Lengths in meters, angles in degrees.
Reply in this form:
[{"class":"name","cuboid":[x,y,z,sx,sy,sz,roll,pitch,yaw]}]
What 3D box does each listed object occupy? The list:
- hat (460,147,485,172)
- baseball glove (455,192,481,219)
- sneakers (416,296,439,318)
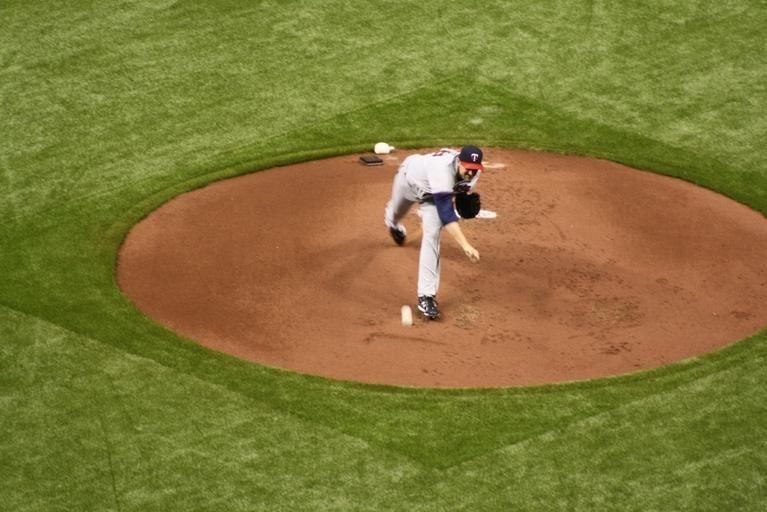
[{"class":"hat","cuboid":[1.160,-1.323,16.732,0.262,0.190,0.326,-4,42,-18]},{"class":"baseball glove","cuboid":[1.176,-0.691,17.223,0.303,0.375,0.350,0,105,6]},{"class":"sneakers","cuboid":[0.614,0.700,16.995,0.283,0.132,0.317,-1,82,2]}]
